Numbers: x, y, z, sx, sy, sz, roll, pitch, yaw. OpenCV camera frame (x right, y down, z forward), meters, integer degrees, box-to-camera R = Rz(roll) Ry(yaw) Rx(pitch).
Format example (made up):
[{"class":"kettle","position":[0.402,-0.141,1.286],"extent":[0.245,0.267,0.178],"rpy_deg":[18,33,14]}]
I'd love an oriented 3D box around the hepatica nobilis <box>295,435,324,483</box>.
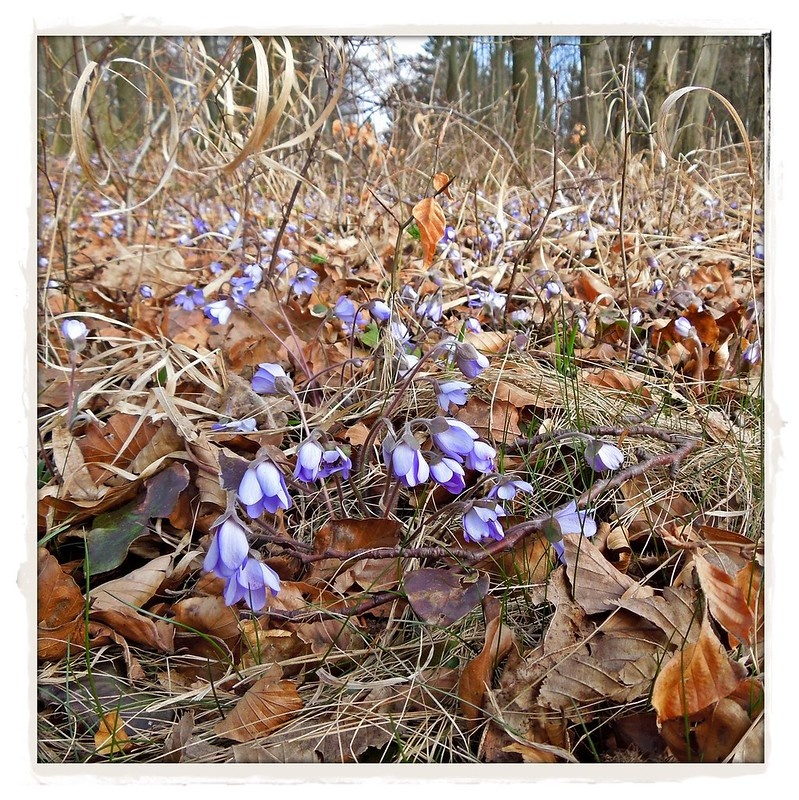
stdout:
[{"class":"hepatica nobilis","position":[-0.180,0.118,1.541],"extent":[0.054,0.093,0.040],"rpy_deg":[0,-13,7]}]

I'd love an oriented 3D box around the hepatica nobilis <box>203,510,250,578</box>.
[{"class":"hepatica nobilis","position":[-0.323,0.259,1.441],"extent":[0.078,0.117,0.046],"rpy_deg":[-2,2,25]}]

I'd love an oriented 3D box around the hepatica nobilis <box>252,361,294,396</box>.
[{"class":"hepatica nobilis","position":[-0.308,-0.043,1.833],"extent":[0.086,0.092,0.133],"rpy_deg":[-6,21,-18]}]

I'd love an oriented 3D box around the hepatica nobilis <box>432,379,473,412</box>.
[{"class":"hepatica nobilis","position":[0.115,-0.014,1.689],"extent":[0.096,0.063,0.039],"rpy_deg":[40,0,7]}]

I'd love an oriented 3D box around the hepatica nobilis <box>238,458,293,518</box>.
[{"class":"hepatica nobilis","position":[-0.256,0.159,1.491],"extent":[0.107,0.110,0.058],"rpy_deg":[-9,27,-8]}]

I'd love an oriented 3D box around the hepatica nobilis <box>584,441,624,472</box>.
[{"class":"hepatica nobilis","position":[0.453,0.127,1.695],"extent":[0.064,0.077,0.029],"rpy_deg":[-38,6,-7]}]

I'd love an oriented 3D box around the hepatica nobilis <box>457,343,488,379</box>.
[{"class":"hepatica nobilis","position":[0.163,-0.090,1.749],"extent":[0.071,0.088,0.081],"rpy_deg":[2,20,4]}]

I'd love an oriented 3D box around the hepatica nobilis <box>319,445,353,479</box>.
[{"class":"hepatica nobilis","position":[-0.137,0.121,1.653],"extent":[0.062,0.071,0.030],"rpy_deg":[-16,39,-5]}]

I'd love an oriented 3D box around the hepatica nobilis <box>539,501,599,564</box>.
[{"class":"hepatica nobilis","position":[0.369,0.271,1.626],"extent":[0.089,0.116,0.164],"rpy_deg":[7,21,18]}]
